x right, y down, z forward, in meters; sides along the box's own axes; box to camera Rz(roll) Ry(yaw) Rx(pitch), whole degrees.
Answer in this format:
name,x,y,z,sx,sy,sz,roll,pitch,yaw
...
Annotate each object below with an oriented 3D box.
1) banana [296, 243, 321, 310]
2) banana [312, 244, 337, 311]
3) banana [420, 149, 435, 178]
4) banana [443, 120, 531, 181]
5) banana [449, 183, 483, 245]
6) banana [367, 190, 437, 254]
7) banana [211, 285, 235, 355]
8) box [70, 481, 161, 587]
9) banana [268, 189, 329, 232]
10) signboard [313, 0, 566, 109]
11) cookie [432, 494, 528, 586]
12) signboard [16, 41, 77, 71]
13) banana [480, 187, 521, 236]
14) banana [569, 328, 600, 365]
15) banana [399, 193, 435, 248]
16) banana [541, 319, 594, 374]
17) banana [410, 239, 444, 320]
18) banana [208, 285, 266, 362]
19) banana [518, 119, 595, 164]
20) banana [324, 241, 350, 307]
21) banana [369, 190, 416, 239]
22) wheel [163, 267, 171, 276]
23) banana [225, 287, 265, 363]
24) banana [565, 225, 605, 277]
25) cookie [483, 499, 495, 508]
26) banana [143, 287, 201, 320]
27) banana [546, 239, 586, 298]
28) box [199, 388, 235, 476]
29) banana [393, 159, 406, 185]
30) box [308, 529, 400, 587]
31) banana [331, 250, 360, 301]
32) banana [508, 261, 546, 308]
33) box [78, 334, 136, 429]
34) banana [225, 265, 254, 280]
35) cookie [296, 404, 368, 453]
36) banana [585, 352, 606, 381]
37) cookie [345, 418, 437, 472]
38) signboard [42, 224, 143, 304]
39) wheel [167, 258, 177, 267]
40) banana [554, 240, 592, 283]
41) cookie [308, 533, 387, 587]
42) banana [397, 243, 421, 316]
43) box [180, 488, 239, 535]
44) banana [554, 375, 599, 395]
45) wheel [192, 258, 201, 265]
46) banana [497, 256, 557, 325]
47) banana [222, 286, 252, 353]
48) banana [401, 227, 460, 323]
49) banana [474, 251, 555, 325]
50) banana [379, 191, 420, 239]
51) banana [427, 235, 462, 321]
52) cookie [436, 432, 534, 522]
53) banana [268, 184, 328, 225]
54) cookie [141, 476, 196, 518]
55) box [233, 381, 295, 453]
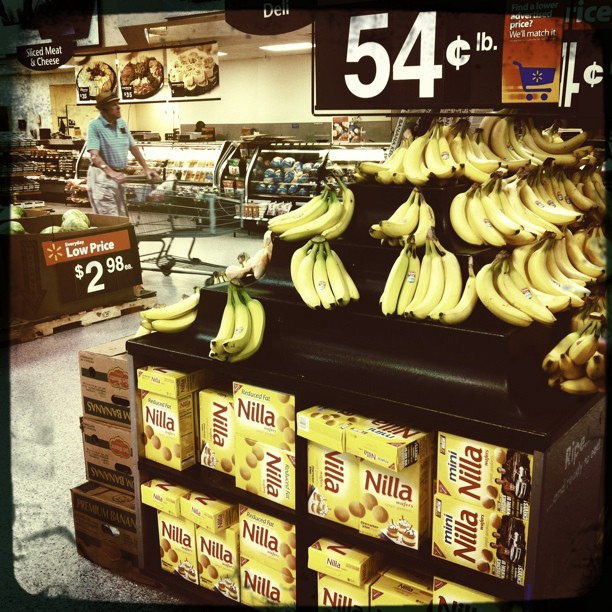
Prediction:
name,x,y,z,sx,sy,sz,roll,pitch,yaw
banana,0.006,-0.099,1.783,0.084,0.230,0.052,14,-19,-17
banana,0.078,-0.103,1.756,0.050,0.237,0.082,10,-28,-30
banana,0.427,-0.504,1.800,0.030,0.125,0.044,24,-33,-33
banana,0.665,-0.627,1.920,0.145,0.163,0.279,2,9,-12
banana,0.525,-0.305,1.689,0.123,0.214,0.055,-11,-28,29
banana,0.346,-0.302,1.652,0.125,0.128,0.225,-6,-21,-28
banana,-0.316,0.058,1.901,0.045,0.239,0.097,14,6,-22
box,-0.846,1.010,2.343,0.393,0.233,0.383,6,10,27
banana,-0.031,-0.362,1.904,0.245,0.071,0.154,-23,-31,3
signboard,0.456,-0.829,1.639,0.493,0.280,0.004,4,17,18
cookie,0.469,0.614,1.363,0.204,0.180,0.174,7,12,36
signboard,-3.508,-3.374,6.763,1.025,0.329,0.200,7,20,24
banana,0.610,-0.300,1.668,0.054,0.199,0.072,-16,-24,-15
banana,0.820,0.118,1.519,0.061,0.061,0.120,31,54,7
banana,0.376,-0.304,1.720,0.069,0.213,0.144,-5,-25,41
banana,0.802,0.130,1.562,0.044,0.075,0.219,8,47,50
banana,0.385,-0.054,1.597,0.115,0.323,0.072,-1,-26,27
banana,-0.258,0.079,1.909,0.190,0.292,0.181,20,-40,-26
banana,1.241,-0.847,2.521,0.253,0.147,0.145,3,23,12
banana,0.097,-0.111,1.707,0.052,0.212,0.077,-9,-18,4
banana,0.299,-0.320,1.737,0.048,0.224,0.080,37,-16,22
wheel,-1.962,-0.489,7.075,0.119,0.111,0.023,5,-6,-3
banana,-0.239,0.049,1.856,0.133,0.081,0.253,12,49,-16
banana,1.191,-0.230,2.165,0.100,0.051,0.249,-22,62,-23
cookie,0.473,0.520,1.315,0.024,0.006,0.024,-2,44,40
banana,-1.014,-0.030,3.693,0.453,0.147,0.097,-21,-14,-21
banana,0.946,-0.134,1.858,0.060,0.098,0.280,2,51,-10
box,-0.338,0.495,1.964,0.098,0.325,0.198,-17,24,-41
banana,0.342,-0.474,1.799,0.029,0.056,0.085,-1,41,22
box,0.118,0.799,1.582,0.201,0.068,0.198,7,15,41
banana,0.132,-0.091,1.756,0.055,0.233,0.074,-21,-14,1
banana,0.670,-0.063,1.544,0.031,0.150,0.055,-38,-15,25
box,-0.884,0.378,2.328,0.328,0.333,0.189,14,23,38
banana,-0.297,-0.153,2.278,0.067,0.045,0.104,7,9,41
cookie,0.061,0.367,1.555,0.145,0.053,0.156,9,16,36
banana,0.838,0.182,1.467,0.047,0.073,0.064,10,21,29
cookie,0.214,0.394,1.500,0.280,0.064,0.290,1,6,-38
signboard,-2.310,-0.462,5.482,0.024,0.742,1.349,6,16,25
wheel,-1.932,-0.613,7.240,0.123,0.028,0.117,-1,45,1
banana,1.052,-0.176,2.016,0.037,0.206,0.075,-35,-16,31
cookie,0.130,0.820,1.640,0.168,0.068,0.216,-7,3,-43
banana,0.329,-0.077,1.625,0.059,0.266,0.098,6,-3,18
box,-0.388,0.805,1.980,0.203,0.077,0.153,8,5,26
banana,0.794,0.238,1.472,0.119,0.056,0.042,-5,18,-13
wheel,-1.602,-0.643,7.342,0.112,0.121,0.195,-4,18,-9
banana,0.655,-0.043,1.520,0.064,0.231,0.097,-39,11,41
banana,-0.249,0.051,1.804,0.099,0.197,0.209,-2,18,-5
banana,0.383,-0.099,1.538,0.148,0.243,0.202,4,19,16
banana,0.574,-0.035,1.507,0.159,0.259,0.111,-39,-3,-5
banana,0.306,-0.295,1.644,0.065,0.131,0.208,27,45,28
banana,0.410,-0.071,1.567,0.072,0.279,0.098,-24,-37,39
cookie,0.538,0.475,1.352,0.192,0.204,0.337,16,-17,-26
banana,-0.026,-0.361,1.925,0.296,0.114,0.051,-17,22,26
cookie,-0.566,0.765,2.041,0.197,0.062,0.187,10,14,33
box,-0.140,0.381,1.737,0.279,0.184,0.152,6,11,38
